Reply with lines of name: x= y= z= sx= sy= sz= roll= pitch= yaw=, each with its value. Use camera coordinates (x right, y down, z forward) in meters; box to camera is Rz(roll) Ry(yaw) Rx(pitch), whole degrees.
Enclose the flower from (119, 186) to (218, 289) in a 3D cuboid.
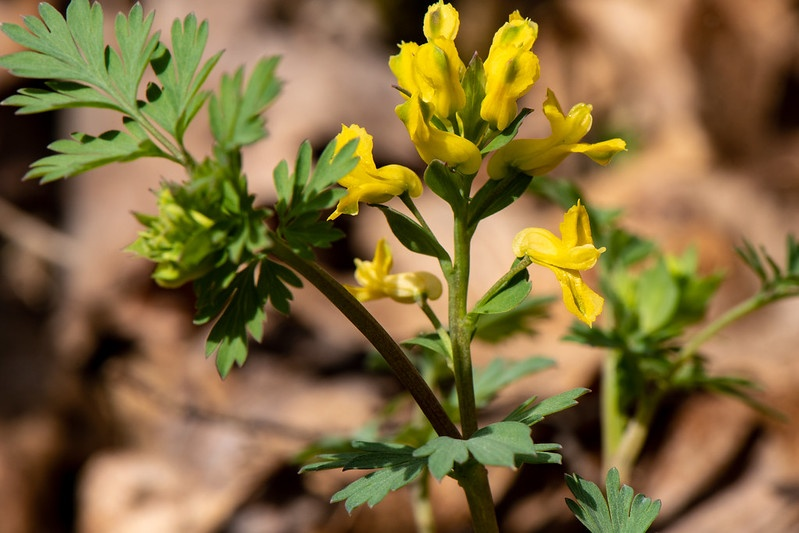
flower: x=-1.148 y=-0.158 z=4.303 sx=0.398 sy=0.391 sz=0.254 roll=-6 pitch=64 yaw=-23
